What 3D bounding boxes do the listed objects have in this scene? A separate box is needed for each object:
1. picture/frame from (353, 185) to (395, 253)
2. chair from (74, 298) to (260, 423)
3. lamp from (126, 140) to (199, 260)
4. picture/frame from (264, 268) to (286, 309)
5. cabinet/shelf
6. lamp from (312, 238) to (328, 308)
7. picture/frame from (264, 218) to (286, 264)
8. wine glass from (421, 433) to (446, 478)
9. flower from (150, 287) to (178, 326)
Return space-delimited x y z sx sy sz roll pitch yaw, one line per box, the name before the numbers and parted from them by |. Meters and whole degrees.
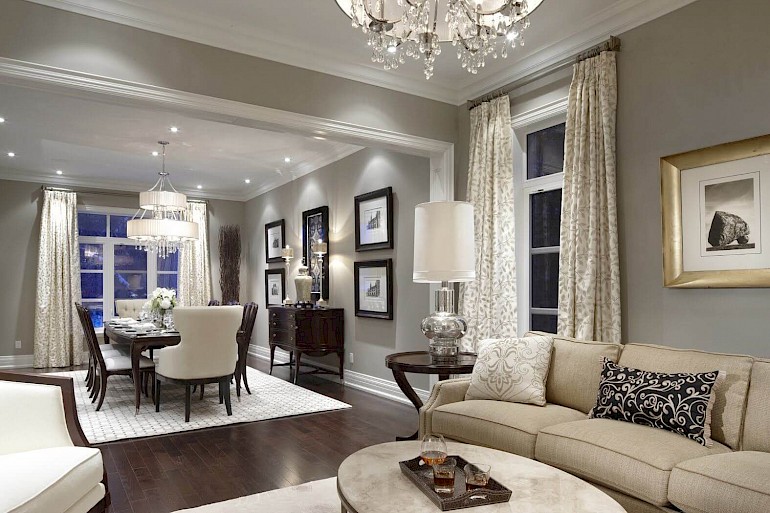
picture/frame | -0.127 -0.500 6.919 0.097 0.869 0.906 1 -5 -34
chair | -2.732 1.494 6.478 1.467 0.959 1.904 4 -6 -35
lamp | -3.241 -0.885 7.534 0.918 1.615 0.919 0 3 -29
picture/frame | -1.945 0.566 9.155 0.055 0.738 0.718 2 -4 -32
cabinet/shelf | -1.326 1.283 7.901 0.547 1.119 1.593 -2 0 -37
lamp | -0.983 0.249 7.911 0.333 1.070 0.334 1 -6 -32
picture/frame | -2.013 -0.265 9.409 0.209 0.806 0.961 -2 2 -25
wine glass | 0.277 1.137 2.927 0.148 0.227 0.151 -8 9 -43
flower | -3.163 0.714 7.284 0.355 0.425 0.396 0 -5 18
